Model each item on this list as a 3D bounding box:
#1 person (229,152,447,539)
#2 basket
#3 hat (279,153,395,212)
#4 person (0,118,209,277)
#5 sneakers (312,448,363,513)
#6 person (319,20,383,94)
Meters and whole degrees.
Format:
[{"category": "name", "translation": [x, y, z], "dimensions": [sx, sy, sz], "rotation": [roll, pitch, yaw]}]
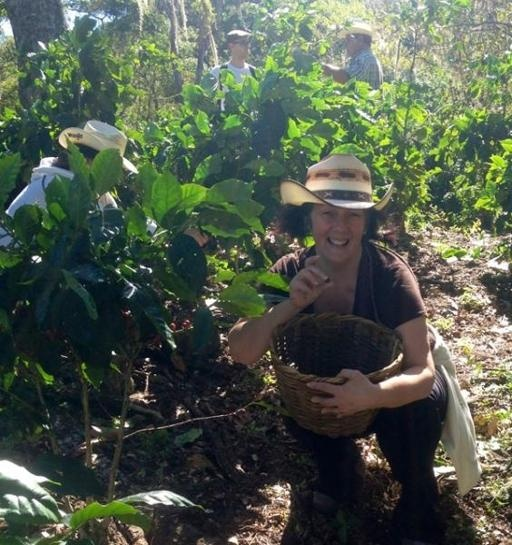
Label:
[{"category": "person", "translation": [0.369, 0.276, 2.782], "dimensions": [0.820, 1.416, 1.055], "rotation": [-7, 21, -17]}, {"category": "basket", "translation": [0.303, 0.357, 2.684], "dimensions": [0.490, 0.338, 0.527], "rotation": [4, 22, 12]}, {"category": "hat", "translation": [0.360, -0.403, 3.019], "dimensions": [0.586, 0.219, 0.563], "rotation": [3, 6, 5]}, {"category": "person", "translation": [-0.882, -0.392, 3.859], "dimensions": [1.268, 0.605, 0.860], "rotation": [-7, 25, -39]}, {"category": "sneakers", "translation": [0.348, 0.824, 2.770], "dimensions": [0.206, 0.311, 0.074], "rotation": [-3, 37, -10]}, {"category": "person", "translation": [0.972, -2.076, 6.432], "dimensions": [0.502, 0.592, 1.340], "rotation": [4, 19, 10]}]
